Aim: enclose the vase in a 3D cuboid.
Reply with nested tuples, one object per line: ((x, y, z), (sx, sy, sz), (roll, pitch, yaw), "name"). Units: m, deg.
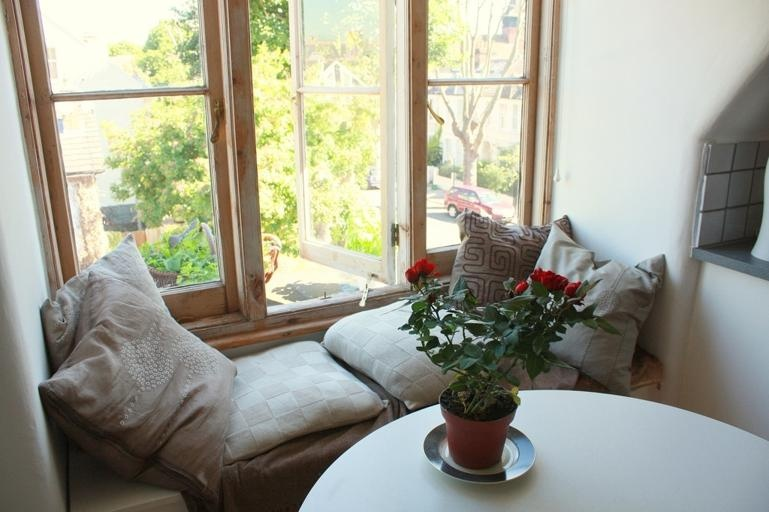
((0.289, 0.542, 1.688), (0.227, 0.173, 0.217), (0, 6, 14), "vase")

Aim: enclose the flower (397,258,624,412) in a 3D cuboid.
((0.479, 0.194, 1.572), (0.334, 0.302, 0.410), (-3, -3, -7), "flower")
